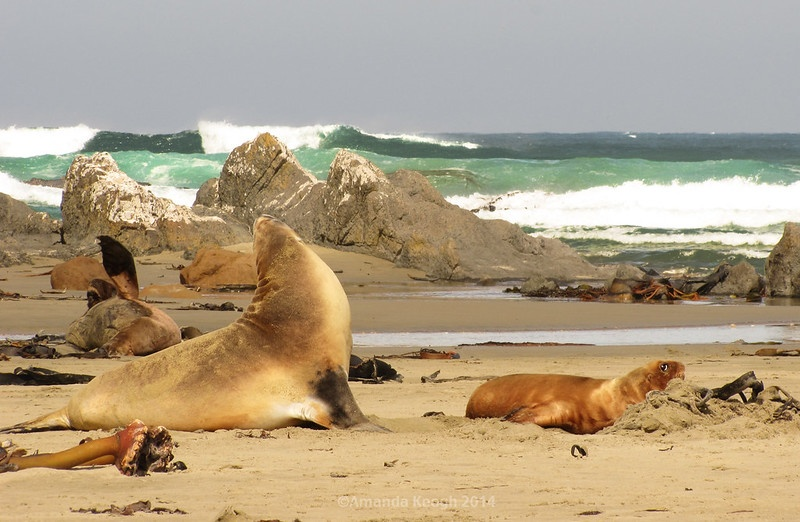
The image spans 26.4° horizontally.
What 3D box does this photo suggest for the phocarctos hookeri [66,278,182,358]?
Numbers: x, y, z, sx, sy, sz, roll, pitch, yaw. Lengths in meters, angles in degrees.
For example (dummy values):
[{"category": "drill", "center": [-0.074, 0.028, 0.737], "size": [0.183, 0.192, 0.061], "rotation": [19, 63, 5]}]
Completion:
[{"category": "phocarctos hookeri", "center": [-8.996, 1.948, 52.504], "size": [2.468, 1.167, 3.164], "rotation": [-7, 14, -39]}]
